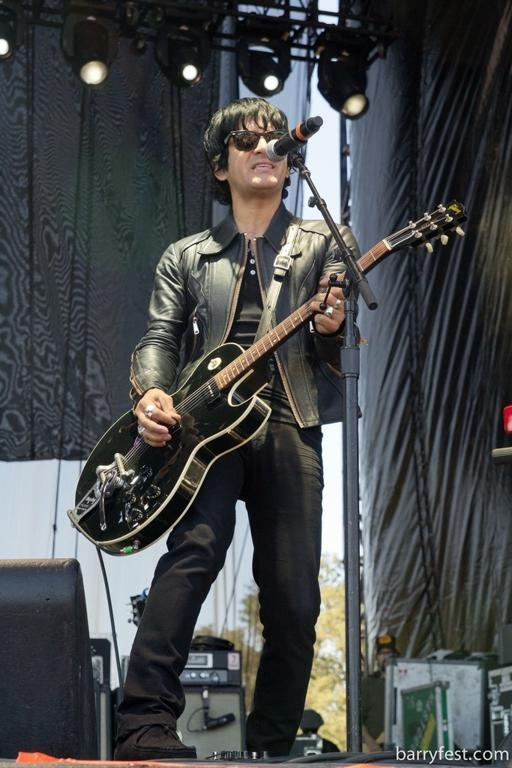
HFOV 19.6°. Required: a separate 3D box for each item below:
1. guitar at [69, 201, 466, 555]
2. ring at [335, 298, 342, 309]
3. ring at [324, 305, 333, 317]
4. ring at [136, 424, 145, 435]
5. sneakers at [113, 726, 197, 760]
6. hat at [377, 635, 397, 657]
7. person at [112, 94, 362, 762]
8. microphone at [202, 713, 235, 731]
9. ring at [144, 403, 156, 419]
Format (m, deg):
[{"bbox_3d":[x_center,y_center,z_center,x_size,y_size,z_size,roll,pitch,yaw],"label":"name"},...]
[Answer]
[{"bbox_3d":[-0.098,0.081,4.451,0.625,1.799,0.217,47,-2,46],"label":"guitar"},{"bbox_3d":[0.245,-0.236,4.339,0.007,0.022,0.022,8,-31,-16],"label":"ring"},{"bbox_3d":[0.219,-0.214,4.341,0.025,0.011,0.044,3,-5,6],"label":"ring"},{"bbox_3d":[-0.352,0.143,4.551,0.024,0.008,0.033,30,-23,17],"label":"ring"},{"bbox_3d":[-0.279,0.940,3.950,0.156,0.104,0.298,1,-3,-10],"label":"sneakers"},{"bbox_3d":[0.600,1.192,6.680,0.077,0.085,0.076,1,-6,-6],"label":"hat"},{"bbox_3d":[-0.117,0.227,4.543,0.639,2.111,0.728,1,8,-23],"label":"person"},{"bbox_3d":[-0.134,1.245,5.402,0.102,0.054,0.028,-13,-3,-15],"label":"microphone"},{"bbox_3d":[-0.310,0.083,4.389,0.033,0.035,0.022,1,-1,8],"label":"ring"}]
